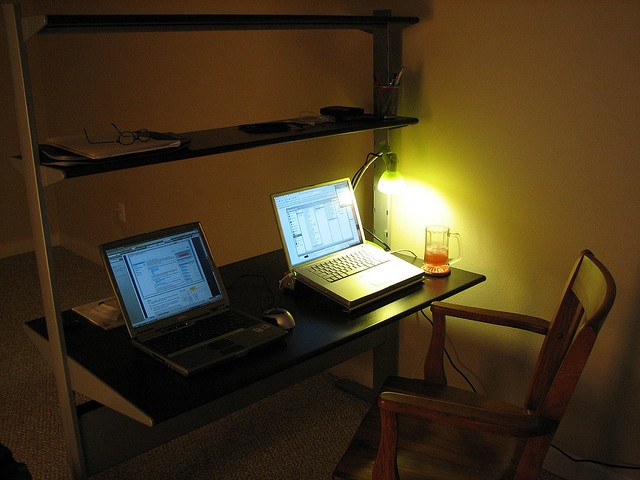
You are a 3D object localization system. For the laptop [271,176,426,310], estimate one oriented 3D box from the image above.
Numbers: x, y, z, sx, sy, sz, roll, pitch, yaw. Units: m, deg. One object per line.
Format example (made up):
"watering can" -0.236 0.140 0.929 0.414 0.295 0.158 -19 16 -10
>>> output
"laptop" 0.069 0.065 2.112 0.521 0.570 0.364 -17 2 -38

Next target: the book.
"book" -0.649 -0.306 1.600 0.412 0.067 0.313 -15 19 -27

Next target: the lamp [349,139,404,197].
"lamp" 0.217 -0.327 2.294 0.290 0.304 0.166 -3 32 4

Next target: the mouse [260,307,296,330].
"mouse" -0.133 0.263 1.741 0.099 0.034 0.060 20 29 39

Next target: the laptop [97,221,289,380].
"laptop" -0.442 0.200 1.726 0.557 0.371 0.431 21 26 39
